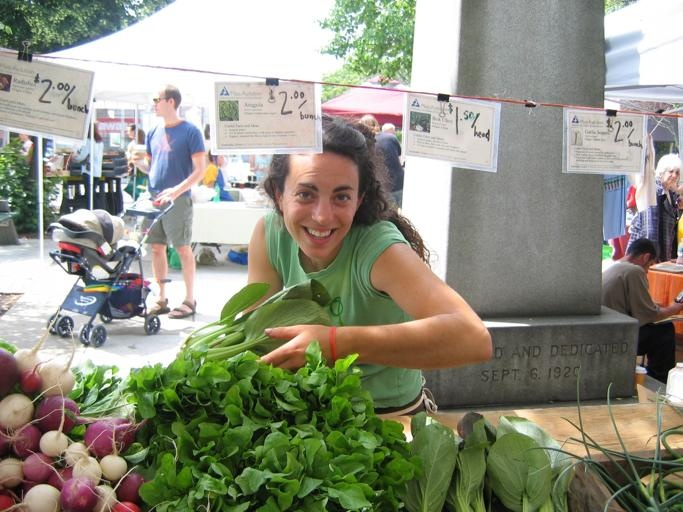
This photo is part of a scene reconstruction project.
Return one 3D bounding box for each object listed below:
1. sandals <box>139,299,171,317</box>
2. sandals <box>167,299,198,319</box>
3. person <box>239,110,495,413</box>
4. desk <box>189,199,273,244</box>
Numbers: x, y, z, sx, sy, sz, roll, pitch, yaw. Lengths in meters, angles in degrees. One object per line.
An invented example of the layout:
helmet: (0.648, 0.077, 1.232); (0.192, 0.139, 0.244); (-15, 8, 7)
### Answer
sandals: (-1.850, 0.500, 5.955); (0.111, 0.132, 0.342); (-3, -5, 28)
sandals: (-1.605, 0.539, 6.108); (0.129, 0.121, 0.288); (-1, -3, 18)
person: (0.078, -0.083, 2.207); (0.755, 0.887, 0.704); (1, 5, -17)
desk: (-1.317, -0.400, 6.834); (0.802, 0.395, 0.406); (1, 21, -4)
